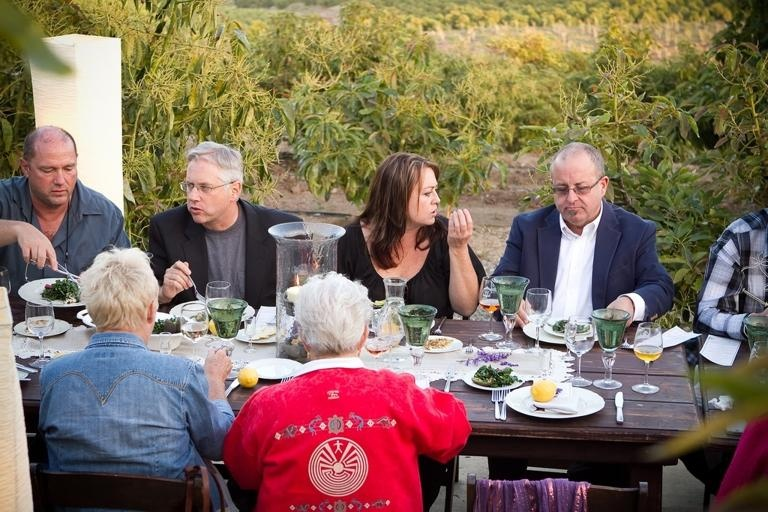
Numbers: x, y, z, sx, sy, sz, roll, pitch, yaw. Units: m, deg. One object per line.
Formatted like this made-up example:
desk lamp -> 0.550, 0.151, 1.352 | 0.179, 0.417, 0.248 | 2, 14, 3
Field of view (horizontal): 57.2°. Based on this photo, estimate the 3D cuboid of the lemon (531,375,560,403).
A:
lemon -> 0.608, 0.504, 2.685 | 0.094, 0.074, 0.070 | -12, 5, -27

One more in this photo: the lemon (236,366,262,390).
lemon -> -0.545, 0.488, 2.844 | 0.068, 0.067, 0.088 | 0, 8, -11

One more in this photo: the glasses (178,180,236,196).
glasses -> -0.938, -0.369, 3.782 | 0.253, 0.064, 0.101 | 0, 6, -3
